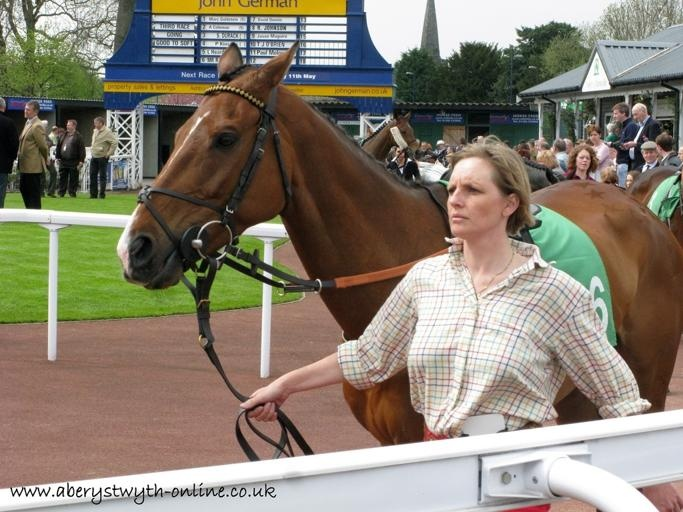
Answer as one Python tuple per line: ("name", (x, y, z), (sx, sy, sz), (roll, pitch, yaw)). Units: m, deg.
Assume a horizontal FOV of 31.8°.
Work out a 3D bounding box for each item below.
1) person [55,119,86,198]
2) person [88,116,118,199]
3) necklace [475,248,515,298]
("person", (-4.648, -1.689, 20.741), (0.489, 1.404, 1.080), (-1, 13, -13))
("person", (-4.000, -1.645, 20.297), (0.435, 1.388, 1.072), (0, 13, -12))
("necklace", (0.833, 0.090, 6.671), (0.158, 0.307, 0.052), (40, 12, 9))
